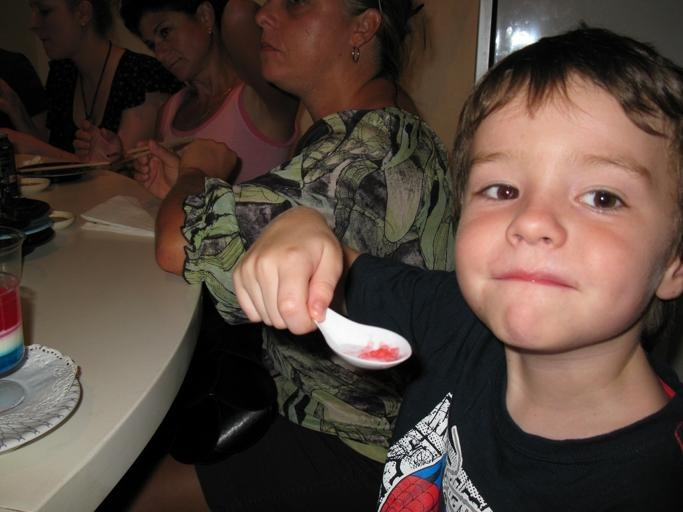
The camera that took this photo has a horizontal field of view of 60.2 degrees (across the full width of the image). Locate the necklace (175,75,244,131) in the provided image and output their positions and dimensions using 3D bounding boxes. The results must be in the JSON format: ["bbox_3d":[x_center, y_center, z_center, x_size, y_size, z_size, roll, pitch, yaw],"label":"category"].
[{"bbox_3d":[-0.669,-0.738,3.034,0.215,0.096,0.310,26,64,38],"label":"necklace"}]
